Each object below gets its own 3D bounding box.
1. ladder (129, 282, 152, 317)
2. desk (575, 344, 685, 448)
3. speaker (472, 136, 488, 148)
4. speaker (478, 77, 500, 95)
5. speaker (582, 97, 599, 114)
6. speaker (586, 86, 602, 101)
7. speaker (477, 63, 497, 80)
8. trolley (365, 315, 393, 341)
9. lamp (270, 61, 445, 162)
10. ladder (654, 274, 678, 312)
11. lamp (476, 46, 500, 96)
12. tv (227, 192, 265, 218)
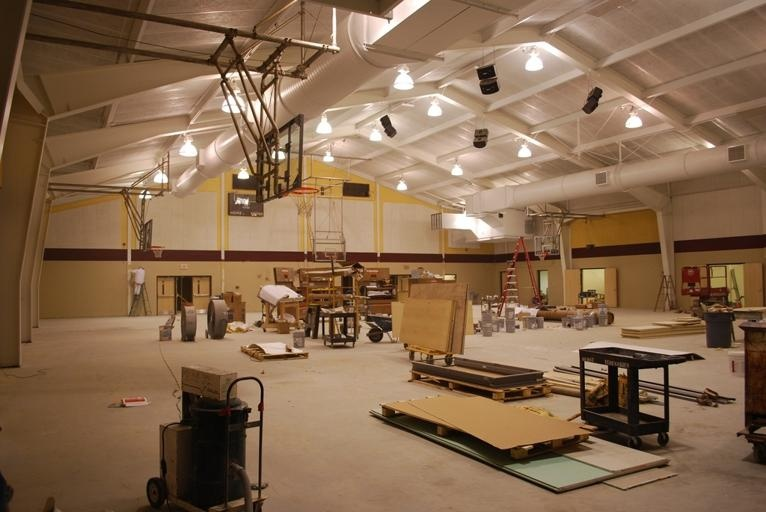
[{"bbox_3d":[-10.881,1.953,24.681,0.887,1.399,0.311,4,-6,-23],"label":"ladder"},{"bbox_3d":[3.482,2.016,7.763,0.494,0.919,1.245,-2,0,-19],"label":"desk"},{"bbox_3d":[3.277,-3.957,18.551,0.412,0.564,0.255,0,-6,17],"label":"speaker"},{"bbox_3d":[2.829,-4.498,14.691,0.578,0.337,0.551,-5,-7,-12],"label":"speaker"},{"bbox_3d":[5.959,-4.361,15.908,0.373,0.158,0.557,5,-14,-2],"label":"speaker"},{"bbox_3d":[6.053,-4.695,15.807,0.310,0.308,0.546,27,10,2],"label":"speaker"},{"bbox_3d":[2.785,-4.930,14.736,0.465,0.324,0.463,-11,-4,18],"label":"speaker"},{"bbox_3d":[-0.084,2.025,15.451,0.654,0.732,1.720,2,-6,0],"label":"trolley"},{"bbox_3d":[-0.803,-3.197,10.376,3.637,1.085,1.034,-11,-6,38],"label":"lamp"},{"bbox_3d":[12.061,1.524,23.381,0.653,1.529,0.946,2,-5,4],"label":"ladder"},{"bbox_3d":[2.879,-5.156,15.089,0.606,1.448,0.423,-11,-56,21],"label":"lamp"},{"bbox_3d":[-6.767,-2.519,26.870,1.654,1.226,0.342,3,-5,-17],"label":"tv"}]
